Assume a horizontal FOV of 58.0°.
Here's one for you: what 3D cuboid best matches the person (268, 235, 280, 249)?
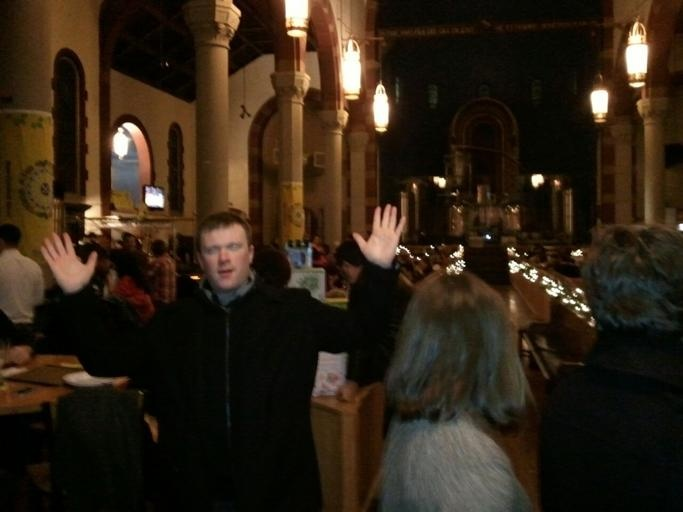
[{"bbox_3d":[-1.556,-0.337,14.133,0.297,0.410,0.774,-2,4,-7],"label":"person"}]

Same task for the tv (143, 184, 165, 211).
[{"bbox_3d":[-6.188,-1.907,20.200,0.216,0.735,0.941,0,3,11],"label":"tv"}]

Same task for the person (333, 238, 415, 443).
[{"bbox_3d":[0.109,0.497,4.105,0.536,2.037,0.595,-7,45,-8],"label":"person"}]

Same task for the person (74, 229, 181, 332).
[{"bbox_3d":[-2.045,0.191,6.322,0.610,1.154,1.376,-3,14,-34],"label":"person"}]
